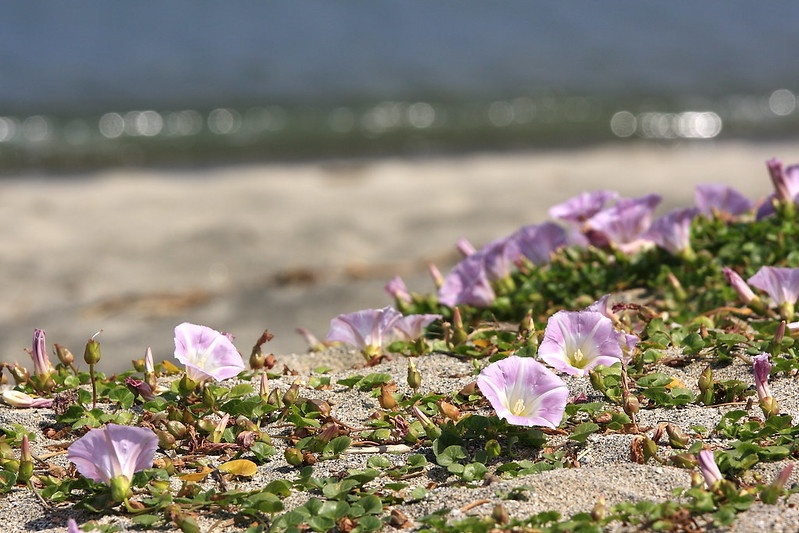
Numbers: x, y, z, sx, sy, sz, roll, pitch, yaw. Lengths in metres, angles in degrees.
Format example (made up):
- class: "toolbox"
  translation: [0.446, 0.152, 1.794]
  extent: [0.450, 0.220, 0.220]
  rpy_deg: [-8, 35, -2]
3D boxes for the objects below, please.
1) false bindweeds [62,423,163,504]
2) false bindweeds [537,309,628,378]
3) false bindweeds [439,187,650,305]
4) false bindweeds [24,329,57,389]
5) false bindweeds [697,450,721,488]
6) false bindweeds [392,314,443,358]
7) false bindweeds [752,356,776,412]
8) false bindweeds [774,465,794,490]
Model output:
- class: "false bindweeds"
  translation: [-1.743, 1.146, 6.666]
  extent: [0.514, 0.478, 0.557]
  rpy_deg: [-10, -8, 43]
- class: "false bindweeds"
  translation: [1.163, 0.513, 7.039]
  extent: [0.557, 0.265, 0.558]
  rpy_deg: [21, -27, -31]
- class: "false bindweeds"
  translation: [1.164, -0.115, 8.451]
  extent: [1.756, 0.481, 0.915]
  rpy_deg: [-9, -7, 11]
- class: "false bindweeds"
  translation: [-2.421, 0.659, 7.399]
  extent: [0.171, 0.467, 0.176]
  rpy_deg: [-4, 0, -8]
- class: "false bindweeds"
  translation: [1.821, 1.187, 6.453]
  extent: [0.113, 0.150, 0.083]
  rpy_deg: [-10, -7, 13]
- class: "false bindweeds"
  translation: [0.126, 0.508, 7.721]
  extent: [0.315, 0.202, 0.320]
  rpy_deg: [-13, -14, 38]
- class: "false bindweeds"
  translation: [2.301, 0.745, 6.940]
  extent: [0.122, 0.277, 0.346]
  rpy_deg: [-11, -7, 17]
- class: "false bindweeds"
  translation: [2.262, 1.231, 6.473]
  extent: [0.115, 0.104, 0.310]
  rpy_deg: [-11, -7, 21]
